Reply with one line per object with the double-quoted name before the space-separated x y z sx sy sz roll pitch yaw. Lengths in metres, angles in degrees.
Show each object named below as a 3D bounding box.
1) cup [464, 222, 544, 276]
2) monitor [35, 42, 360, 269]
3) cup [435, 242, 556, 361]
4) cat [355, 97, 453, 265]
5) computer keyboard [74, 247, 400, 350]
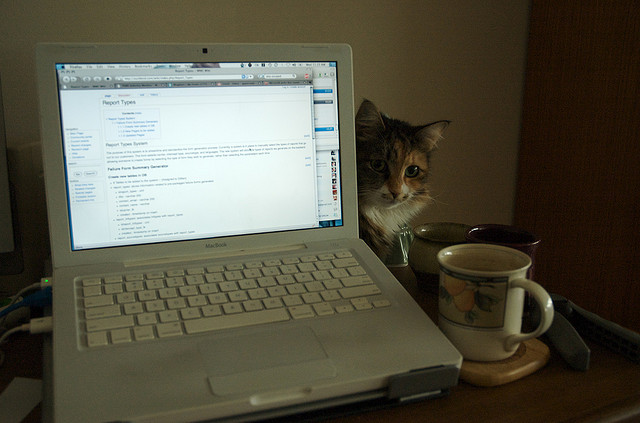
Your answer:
"cup" 0.319 0.062 0.882 0.127 0.097 0.103 14 22 23
"monitor" -0.197 -0.108 0.907 0.570 0.376 0.008 -4 6 -13
"cup" 0.287 0.161 0.791 0.129 0.152 0.207 0 7 -21
"cat" 0.135 -0.094 1.294 0.422 0.338 0.265 0 12 -5
"computer keyboard" -0.176 0.247 0.910 0.359 0.013 0.143 -6 34 -12
